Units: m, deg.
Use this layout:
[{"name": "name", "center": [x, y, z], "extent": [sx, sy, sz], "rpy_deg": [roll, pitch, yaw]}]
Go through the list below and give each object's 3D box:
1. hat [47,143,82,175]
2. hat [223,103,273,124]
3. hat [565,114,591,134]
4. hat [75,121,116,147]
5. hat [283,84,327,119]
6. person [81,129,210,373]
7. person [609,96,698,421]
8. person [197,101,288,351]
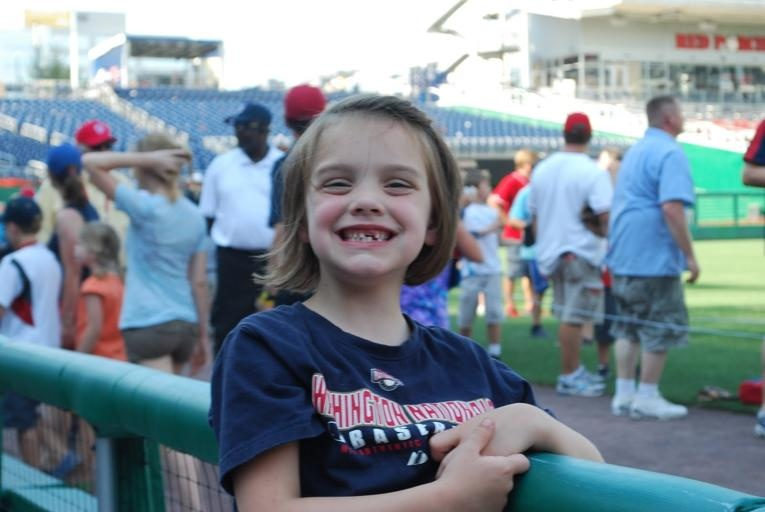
[{"name": "hat", "center": [-1.799, -0.556, 6.232], "extent": [0.162, 0.200, 0.205], "rpy_deg": [0, 1, -6]}, {"name": "hat", "center": [-0.790, -0.836, 6.519], "extent": [0.205, 0.107, 0.131], "rpy_deg": [7, 7, 5]}, {"name": "hat", "center": [1.104, -0.746, 6.170], "extent": [0.087, 0.126, 0.121], "rpy_deg": [3, 13, 5]}, {"name": "hat", "center": [-1.641, -0.699, 6.342], "extent": [0.148, 0.110, 0.203], "rpy_deg": [7, 13, 36]}, {"name": "hat", "center": [-0.438, -0.869, 6.121], "extent": [0.332, 0.153, 0.474], "rpy_deg": [-2, 13, -5]}, {"name": "person", "center": [-1.280, -0.002, 6.182], "extent": [0.692, 1.363, 0.317], "rpy_deg": [0, 4, -17]}, {"name": "person", "center": [1.384, 0.080, 5.636], "extent": [0.440, 1.475, 0.770], "rpy_deg": [2, 4, 10]}, {"name": "person", "center": [-0.786, -0.025, 6.746], "extent": [0.621, 1.837, 0.565], "rpy_deg": [-7, 25, -18]}]
